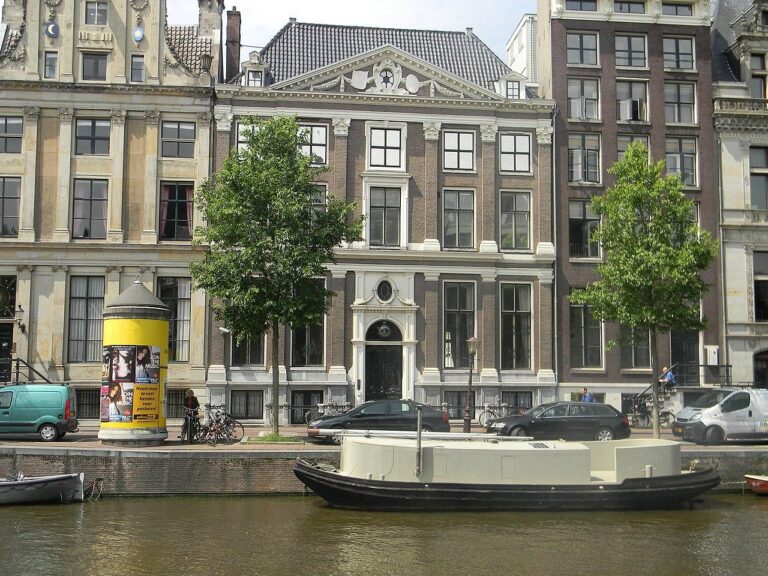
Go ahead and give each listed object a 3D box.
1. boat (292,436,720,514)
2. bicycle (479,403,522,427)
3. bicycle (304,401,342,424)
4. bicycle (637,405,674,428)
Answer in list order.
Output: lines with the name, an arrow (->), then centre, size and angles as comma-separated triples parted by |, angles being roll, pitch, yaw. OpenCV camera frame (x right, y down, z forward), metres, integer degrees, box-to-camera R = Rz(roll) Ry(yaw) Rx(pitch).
boat -> 4.261, 6.792, 50.505 | 13.543, 2.701, 1.254 | 0, -7, -5
bicycle -> 5.351, 5.990, 64.833 | 2.019, 1.250, 1.015 | -2, -1, -8
bicycle -> -2.897, 5.643, 63.477 | 1.463, 0.544, 1.082 | -2, -6, 3
bicycle -> 12.978, 6.143, 65.465 | 2.379, 0.947, 1.196 | 7, -10, -43
